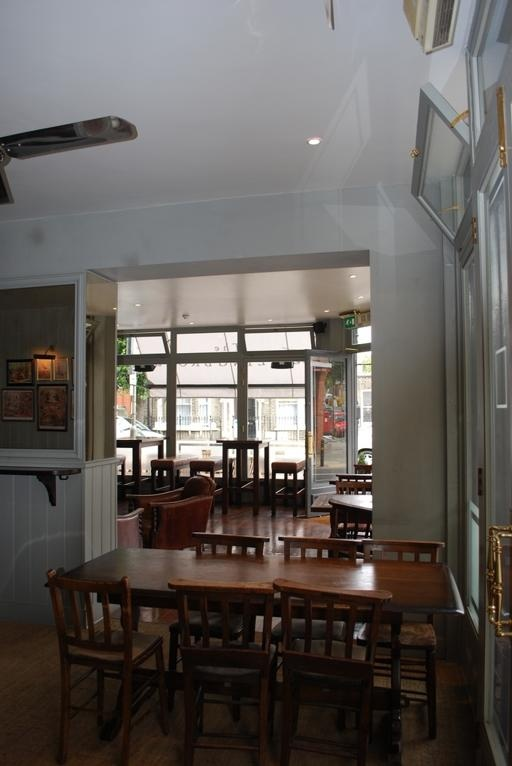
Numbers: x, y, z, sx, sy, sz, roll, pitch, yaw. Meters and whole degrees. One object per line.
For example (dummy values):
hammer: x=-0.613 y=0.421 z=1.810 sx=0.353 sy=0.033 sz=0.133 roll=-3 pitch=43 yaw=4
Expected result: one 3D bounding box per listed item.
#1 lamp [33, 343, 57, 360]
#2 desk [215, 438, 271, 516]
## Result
lamp: x=-1.516 y=-0.224 z=4.132 sx=0.164 sy=0.180 sz=0.095 roll=1 pitch=-7 yaw=-10
desk: x=-0.214 y=1.108 z=9.131 sx=0.610 sy=1.305 sz=1.481 roll=2 pitch=23 yaw=2
